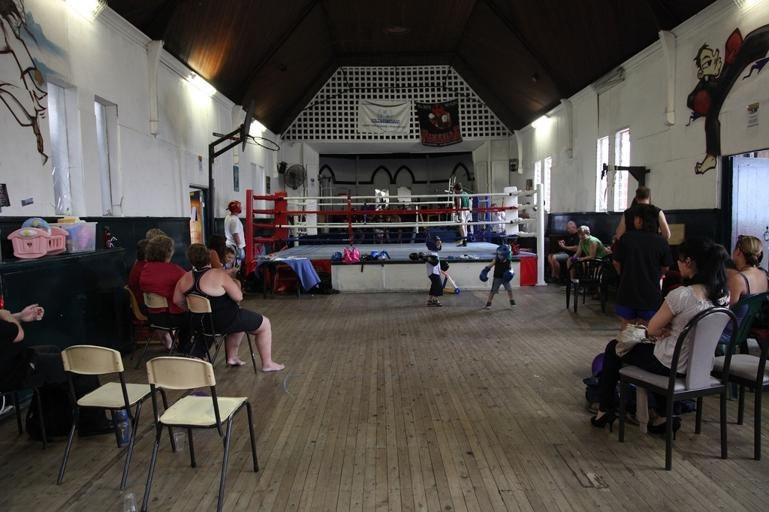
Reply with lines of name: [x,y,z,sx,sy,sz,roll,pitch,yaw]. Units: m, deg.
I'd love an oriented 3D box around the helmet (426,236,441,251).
helmet: [0.887,-0.213,9.262,0.221,0.298,0.284,11,15,38]

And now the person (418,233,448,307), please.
person: [0.853,0.234,9.021,0.412,1.041,1.112,0,10,7]

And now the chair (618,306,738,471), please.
chair: [2.580,1.081,4.621,0.960,1.354,0.537,-2,10,-8]

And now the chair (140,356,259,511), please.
chair: [-1.539,1.398,4.344,0.915,1.183,0.713,-2,10,-8]

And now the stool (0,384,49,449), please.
stool: [-3.377,1.509,4.930,0.411,0.432,0.583,-6,-5,37]

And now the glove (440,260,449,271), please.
glove: [0.999,0.168,8.809,0.156,0.158,0.135,0,7,16]

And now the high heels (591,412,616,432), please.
high heels: [2.032,1.517,4.906,0.223,0.187,0.121,7,6,31]

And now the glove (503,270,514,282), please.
glove: [1.931,0.303,8.274,0.086,0.160,0.135,-5,37,-43]

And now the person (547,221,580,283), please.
person: [3.518,-0.093,10.372,0.584,1.217,0.496,4,8,-15]

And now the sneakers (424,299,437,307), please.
sneakers: [0.775,0.764,8.617,0.185,0.077,0.176,0,10,4]

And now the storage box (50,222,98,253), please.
storage box: [-3.609,-0.207,6.141,0.313,0.321,0.421,0,-2,8]

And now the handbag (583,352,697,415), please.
handbag: [2.323,1.150,4.713,0.644,0.257,0.673,-2,-2,17]

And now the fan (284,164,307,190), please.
fan: [-2.871,-2.498,16.790,0.646,0.804,1.242,-3,10,-10]

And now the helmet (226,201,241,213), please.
helmet: [-2.783,-0.902,9.806,0.179,0.242,0.645,-3,10,-11]

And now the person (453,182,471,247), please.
person: [1.884,-0.985,12.769,0.425,1.472,0.522,0,6,-6]

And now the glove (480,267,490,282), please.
glove: [1.633,0.248,8.496,0.085,0.261,0.190,8,-36,0]

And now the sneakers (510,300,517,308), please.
sneakers: [2.067,0.768,8.496,0.088,0.122,0.280,-3,-6,9]

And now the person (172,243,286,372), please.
person: [-1.746,0.584,5.869,1.108,1.499,0.436,-4,10,-20]

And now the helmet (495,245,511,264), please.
helmet: [1.858,-0.045,8.228,0.222,0.280,0.272,1,10,8]

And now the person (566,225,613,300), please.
person: [3.327,0.095,8.613,0.590,1.122,0.502,-9,4,-9]

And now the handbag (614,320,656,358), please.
handbag: [2.257,0.741,4.774,0.302,0.259,0.138,-13,-18,37]
